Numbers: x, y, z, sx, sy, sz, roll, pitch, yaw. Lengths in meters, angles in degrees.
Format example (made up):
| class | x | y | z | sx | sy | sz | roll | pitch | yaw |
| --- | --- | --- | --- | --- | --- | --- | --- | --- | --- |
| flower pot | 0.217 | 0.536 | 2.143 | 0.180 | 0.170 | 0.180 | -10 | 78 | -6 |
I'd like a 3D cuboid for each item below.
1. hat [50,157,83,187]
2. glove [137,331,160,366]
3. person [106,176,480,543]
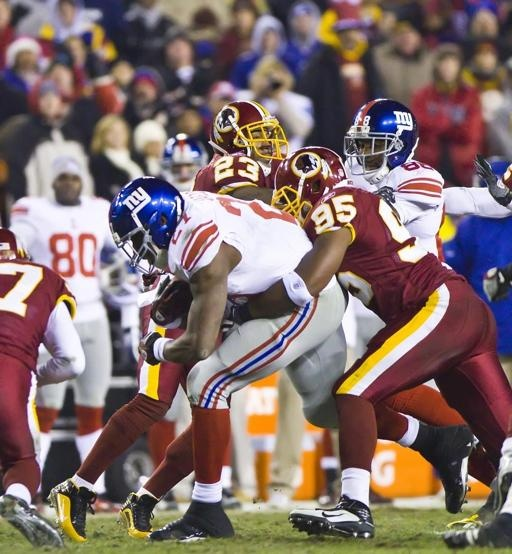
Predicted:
| class | x | y | z | sx | sy | sz | roll | pitch | yaw |
| --- | --- | --- | --- | --- | --- | --- | --- | --- | --- |
| hat | -1.097 | -0.605 | 5.502 | 0.174 | 0.120 | 0.163 | -1 | -5 | -5 |
| glove | -0.357 | 0.242 | 3.230 | 0.108 | 0.106 | 0.078 | -7 | 59 | 0 |
| person | -0.061 | 0.311 | 3.302 | 0.798 | 1.234 | 0.649 | -5 | 27 | -20 |
